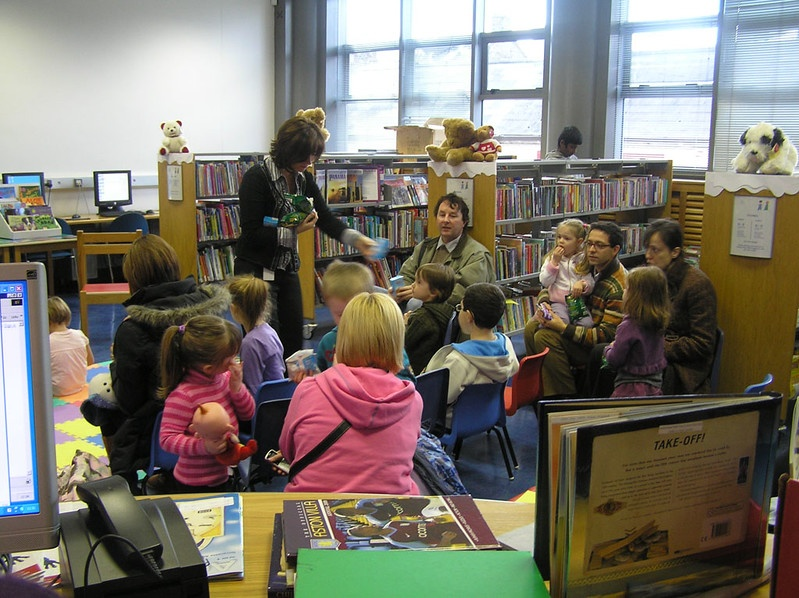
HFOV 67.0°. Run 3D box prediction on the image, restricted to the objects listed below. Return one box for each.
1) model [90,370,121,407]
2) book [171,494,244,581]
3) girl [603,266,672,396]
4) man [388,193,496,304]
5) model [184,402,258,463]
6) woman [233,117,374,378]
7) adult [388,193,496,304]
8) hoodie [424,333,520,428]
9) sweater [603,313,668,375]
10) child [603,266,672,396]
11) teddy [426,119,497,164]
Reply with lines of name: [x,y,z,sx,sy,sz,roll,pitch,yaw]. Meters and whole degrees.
model: [-1.231,0.375,2.572,0.111,0.127,0.148,-25,8,-31]
book: [-0.442,0.542,1.380,0.171,0.028,0.403,5,4,-19]
girl: [1.315,0.190,3.352,0.335,0.736,0.232,-1,8,11]
man: [0.262,-0.350,4.370,0.924,0.806,0.640,-2,11,-36]
model: [-0.554,0.433,1.864,0.184,0.213,0.111,-21,19,-15]
woman: [-0.597,-0.110,3.458,0.607,1.847,0.694,-8,25,-33]
adult: [0.269,-0.354,4.366,0.926,0.800,0.652,-5,14,-41]
hoodie: [0.384,0.322,3.216,0.431,0.513,0.477,-7,20,-26]
sweater: [1.267,0.250,3.449,0.365,0.361,0.292,-5,17,-18]
child: [1.315,0.190,3.352,0.335,0.736,0.232,-1,8,11]
teddy: [0.481,-1.159,4.543,0.465,0.304,0.367,0,5,30]
